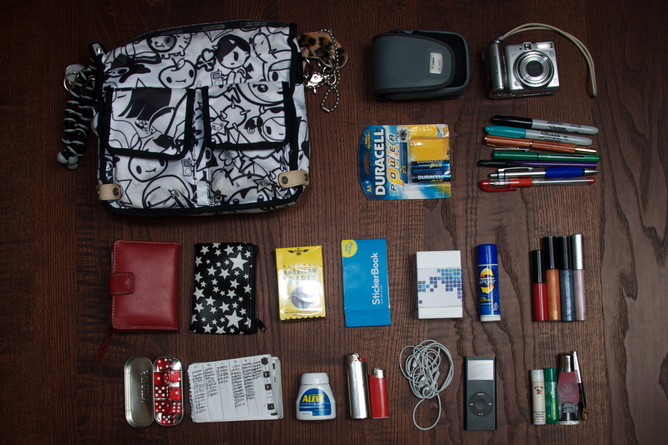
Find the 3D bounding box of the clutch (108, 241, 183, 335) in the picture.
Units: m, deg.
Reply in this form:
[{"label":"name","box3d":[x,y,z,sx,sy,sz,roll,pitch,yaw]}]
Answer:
[{"label":"clutch","box3d":[-0.691,0.236,2.671,0.242,0.334,0.090,-1,-2,-6]}]

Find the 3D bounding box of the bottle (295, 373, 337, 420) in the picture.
[{"label":"bottle","box3d":[-0.069,0.631,2.631,0.125,0.171,0.131,-3,34,2]}]

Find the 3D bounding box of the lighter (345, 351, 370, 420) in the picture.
[{"label":"lighter","box3d":[0.087,0.607,2.682,0.078,0.248,0.081,-4,7,2]}]

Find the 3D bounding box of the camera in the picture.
[{"label":"camera","box3d":[0.712,-0.584,2.761,0.291,0.221,0.083,-5,7,-2]}]

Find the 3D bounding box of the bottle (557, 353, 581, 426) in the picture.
[{"label":"bottle","box3d":[0.859,0.613,2.688,0.074,0.238,0.063,-2,8,17]}]

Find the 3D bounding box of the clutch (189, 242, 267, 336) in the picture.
[{"label":"clutch","box3d":[-0.406,0.250,2.751,0.267,0.338,0.072,0,-4,3]}]

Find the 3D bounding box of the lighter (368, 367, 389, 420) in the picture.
[{"label":"lighter","box3d":[0.164,0.635,2.673,0.076,0.194,0.061,-5,7,-6]}]
